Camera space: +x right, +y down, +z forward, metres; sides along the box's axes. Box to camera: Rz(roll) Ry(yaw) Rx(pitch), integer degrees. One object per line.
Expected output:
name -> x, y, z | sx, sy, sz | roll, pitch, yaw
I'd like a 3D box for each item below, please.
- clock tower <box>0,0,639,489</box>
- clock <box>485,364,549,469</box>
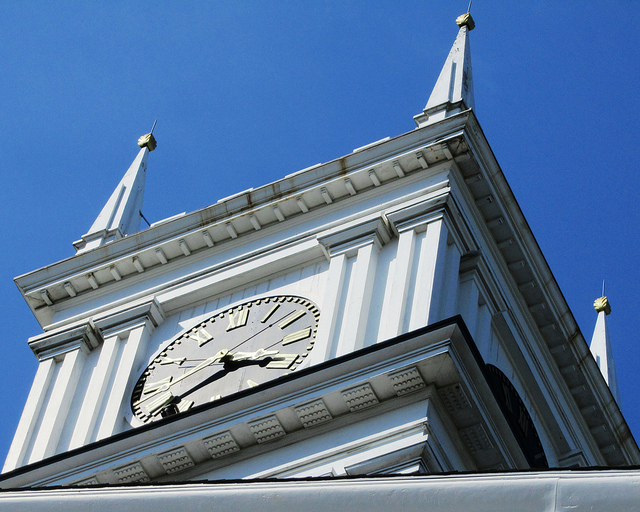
clock tower -> -0.299, 0.472, 37.520 | 12.460, 17.542, 6.622 | -9, -52, 6
clock -> 4.101, 3.374, 33.170 | 0.117, 1.972, 1.983 | -24, -37, 7
